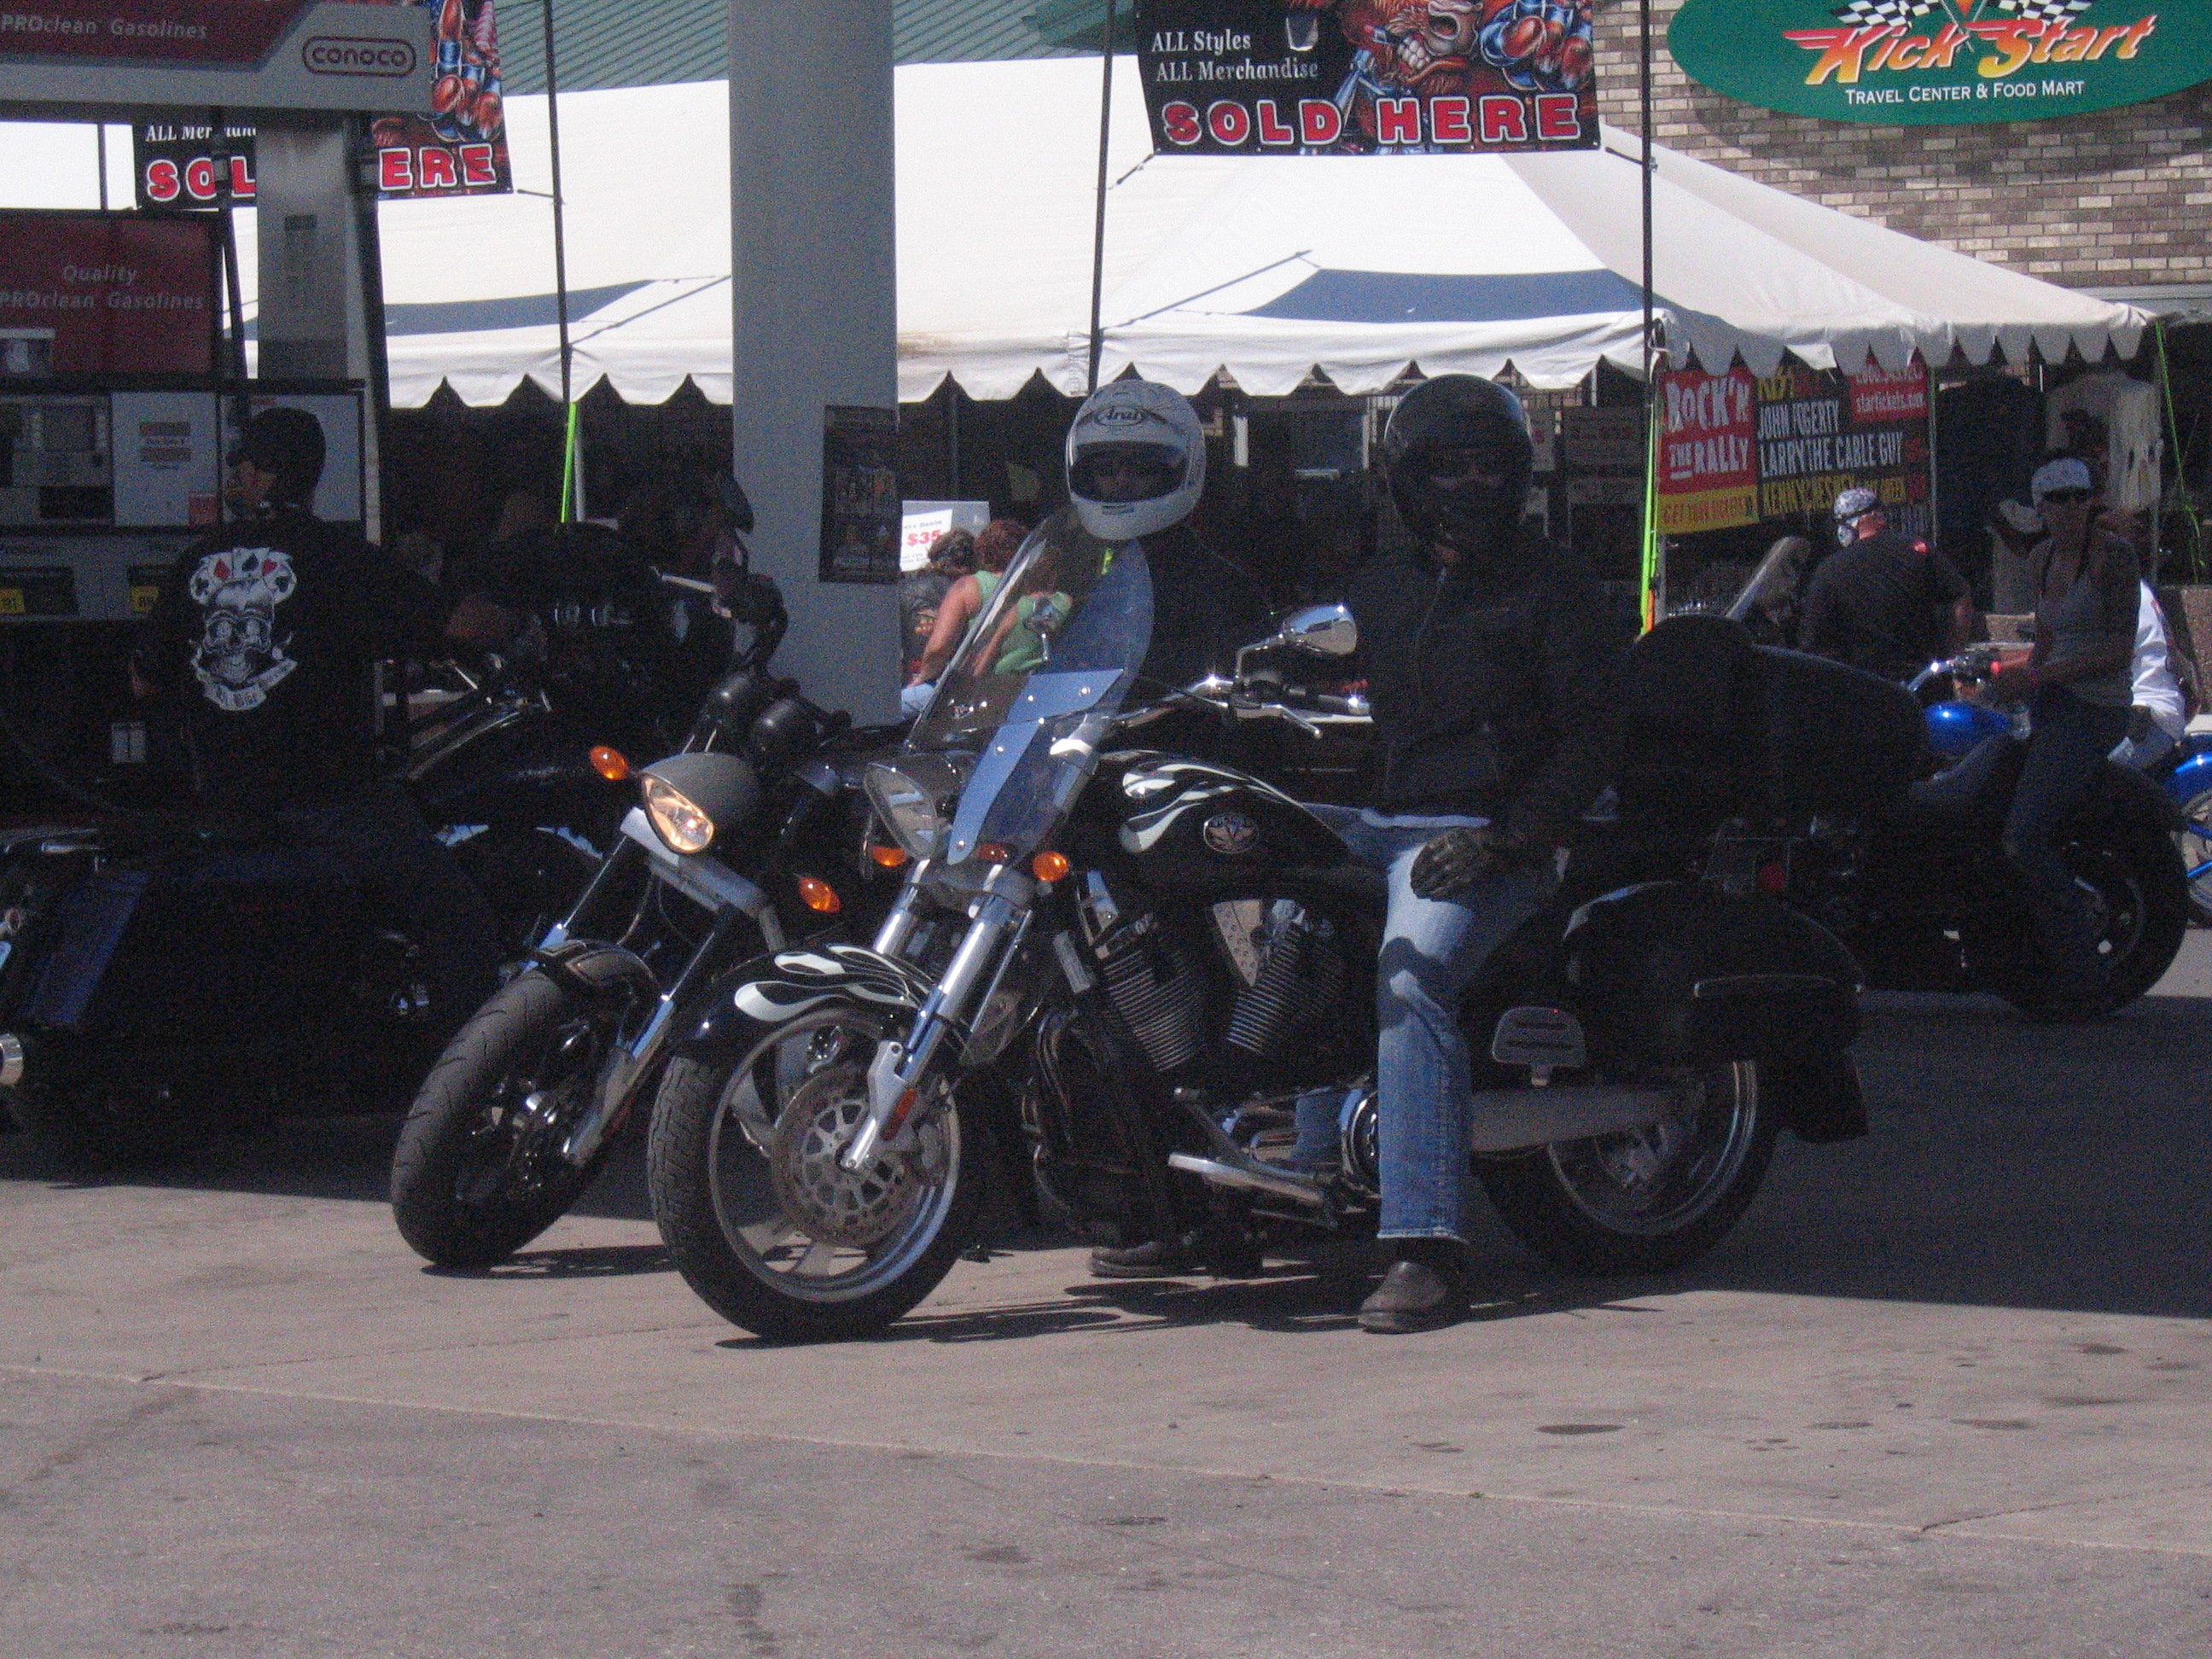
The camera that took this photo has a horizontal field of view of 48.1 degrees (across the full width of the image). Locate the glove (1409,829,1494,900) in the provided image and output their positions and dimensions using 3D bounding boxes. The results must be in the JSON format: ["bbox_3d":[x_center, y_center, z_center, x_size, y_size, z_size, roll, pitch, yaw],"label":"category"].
[{"bbox_3d":[0.818,0.082,5.869,0.187,0.164,0.053,0,3,9],"label":"glove"}]

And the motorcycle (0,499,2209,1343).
[{"bbox_3d":[0.104,0.184,6.524,3.645,1.808,1.818,-2,-3,-11],"label":"motorcycle"}]

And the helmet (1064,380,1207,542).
[{"bbox_3d":[0.064,-0.877,5.947,0.295,0.316,0.387,0,6,11],"label":"helmet"}]

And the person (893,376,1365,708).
[{"bbox_3d":[0.019,-0.697,6.001,0.847,0.782,0.466,-1,3,-10],"label":"person"}]

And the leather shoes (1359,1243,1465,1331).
[{"bbox_3d":[0.741,1.073,5.871,0.126,0.149,0.333,-1,0,36],"label":"leather shoes"}]
